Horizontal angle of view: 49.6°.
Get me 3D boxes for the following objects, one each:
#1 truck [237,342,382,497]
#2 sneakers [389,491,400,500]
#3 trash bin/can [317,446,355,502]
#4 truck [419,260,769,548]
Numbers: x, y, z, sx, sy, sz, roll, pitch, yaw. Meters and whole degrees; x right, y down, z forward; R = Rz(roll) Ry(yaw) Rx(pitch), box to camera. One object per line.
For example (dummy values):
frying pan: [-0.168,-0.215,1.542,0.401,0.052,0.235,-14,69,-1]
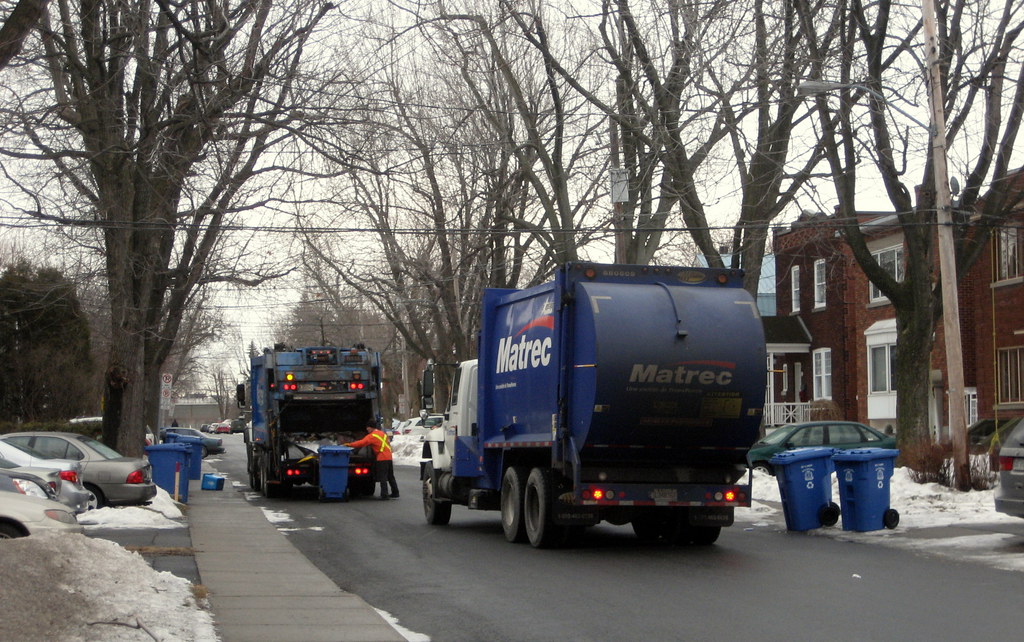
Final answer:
truck: [-6.437,3.165,34.548,3.875,3.899,7.350,0,-7,-16]
sneakers: [-3.453,5.104,32.149,0.443,0.284,0.149,3,5,4]
trash bin/can: [-4.967,4.236,30.608,0.847,1.461,0.801,2,-7,-10]
truck: [1.597,1.843,22.832,2.991,5.587,6.933,7,-10,-44]
